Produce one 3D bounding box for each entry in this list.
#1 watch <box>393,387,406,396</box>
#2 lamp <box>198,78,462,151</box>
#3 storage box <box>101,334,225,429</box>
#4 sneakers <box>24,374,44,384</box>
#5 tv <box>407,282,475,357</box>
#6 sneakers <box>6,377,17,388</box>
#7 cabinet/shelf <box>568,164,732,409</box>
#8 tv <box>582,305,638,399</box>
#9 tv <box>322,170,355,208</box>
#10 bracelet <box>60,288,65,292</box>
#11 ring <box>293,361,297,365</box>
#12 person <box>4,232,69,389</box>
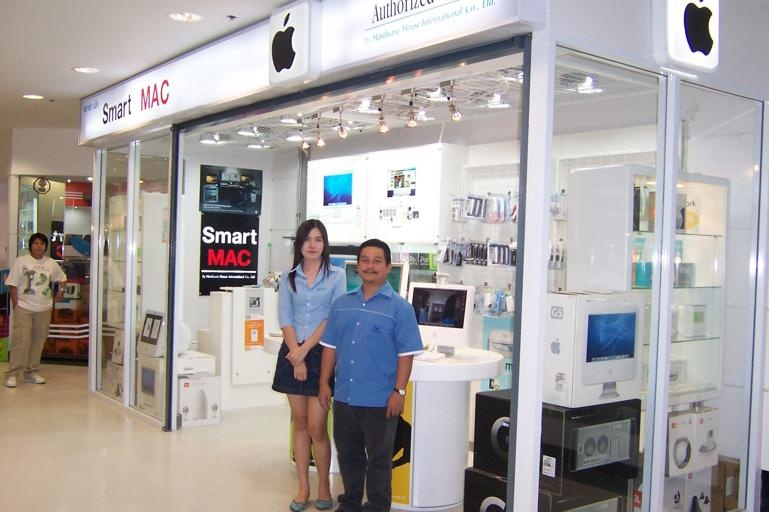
[{"bbox_3d":[0.120,0.980,4.224,0.069,0.044,0.070,-4,-17,17],"label":"watch"},{"bbox_3d":[-0.650,-1.696,8.071,1.923,0.442,5.484,-2,4,-40],"label":"lamp"},{"bbox_3d":[-2.624,1.484,7.036,1.518,1.083,0.847,-4,-7,44],"label":"storage box"},{"bbox_3d":[-5.125,1.809,8.628,0.296,0.119,0.127,3,0,3],"label":"sneakers"},{"bbox_3d":[0.499,0.519,5.234,0.577,0.586,0.301,4,-1,13],"label":"tv"},{"bbox_3d":[-5.323,1.789,8.349,0.136,0.141,0.184,-1,3,-33],"label":"sneakers"},{"bbox_3d":[2.450,0.153,4.733,0.491,1.680,1.106,-15,11,-19],"label":"cabinet/shelf"},{"bbox_3d":[1.550,0.664,4.060,0.674,0.743,0.082,0,-2,-33],"label":"tv"},{"bbox_3d":[-0.758,-1.031,8.996,0.054,0.572,0.741,8,11,39],"label":"tv"},{"bbox_3d":[-4.975,0.518,9.013,0.052,0.050,0.093,4,12,16],"label":"bracelet"},{"bbox_3d":[-0.720,0.852,4.687,0.028,0.023,0.032,2,-9,-8],"label":"ring"},{"bbox_3d":[-5.159,0.771,8.602,0.716,2.184,0.393,-1,3,-36],"label":"person"}]
